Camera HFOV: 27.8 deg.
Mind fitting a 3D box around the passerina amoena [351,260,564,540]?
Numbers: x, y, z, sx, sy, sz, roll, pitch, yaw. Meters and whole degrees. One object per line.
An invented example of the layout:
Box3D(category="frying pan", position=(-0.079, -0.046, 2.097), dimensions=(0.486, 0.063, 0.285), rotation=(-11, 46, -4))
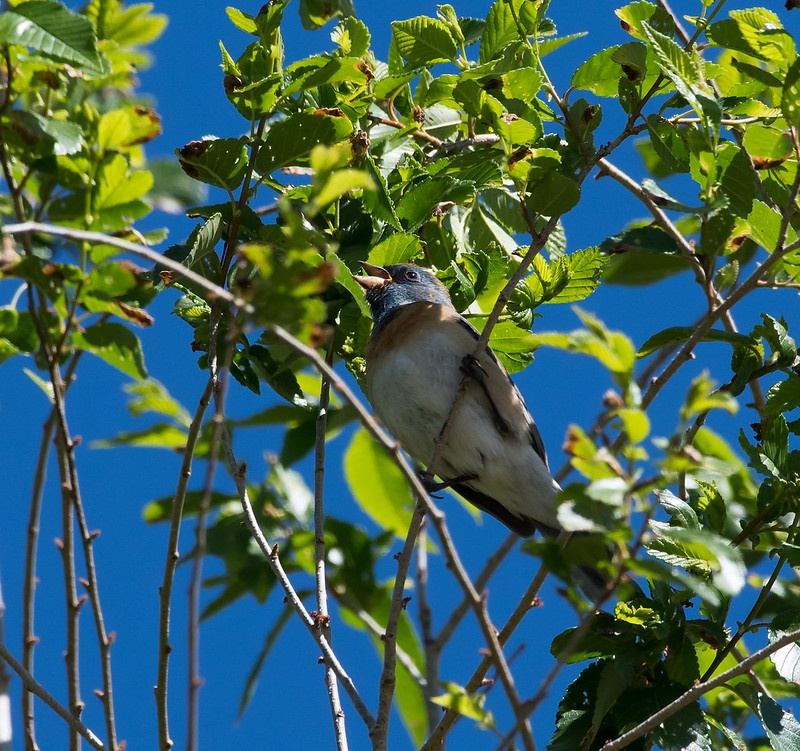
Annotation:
Box3D(category="passerina amoena", position=(0.213, 0.034, 5.998), dimensions=(1.158, 0.486, 0.350), rotation=(38, -49, -8))
